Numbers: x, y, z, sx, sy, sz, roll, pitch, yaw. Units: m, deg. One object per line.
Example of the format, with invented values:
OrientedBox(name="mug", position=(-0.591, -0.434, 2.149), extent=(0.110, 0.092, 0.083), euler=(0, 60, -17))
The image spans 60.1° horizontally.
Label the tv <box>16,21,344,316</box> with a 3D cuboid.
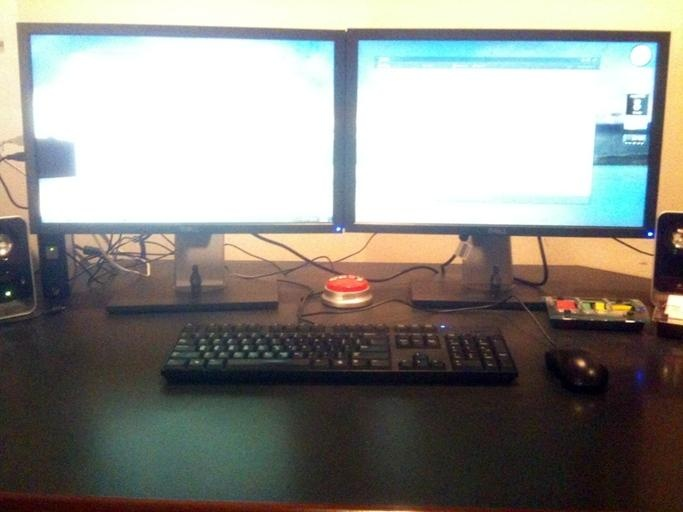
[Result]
OrientedBox(name="tv", position=(-0.341, -0.190, 1.234), extent=(0.757, 0.587, 0.205), euler=(2, 22, -5))
